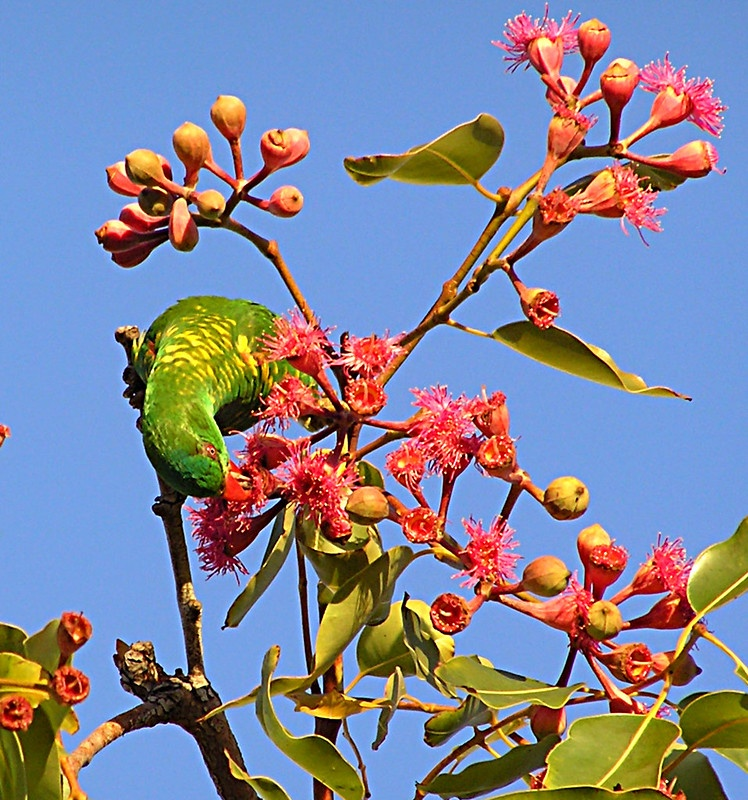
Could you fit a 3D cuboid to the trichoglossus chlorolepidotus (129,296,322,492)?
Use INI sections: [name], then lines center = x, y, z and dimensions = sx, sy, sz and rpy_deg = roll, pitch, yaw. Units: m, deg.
[trichoglossus chlorolepidotus]
center = -0.385, -0.043, 5.307
dimensions = 0.291, 0.995, 0.354
rpy_deg = 18, -73, -8
